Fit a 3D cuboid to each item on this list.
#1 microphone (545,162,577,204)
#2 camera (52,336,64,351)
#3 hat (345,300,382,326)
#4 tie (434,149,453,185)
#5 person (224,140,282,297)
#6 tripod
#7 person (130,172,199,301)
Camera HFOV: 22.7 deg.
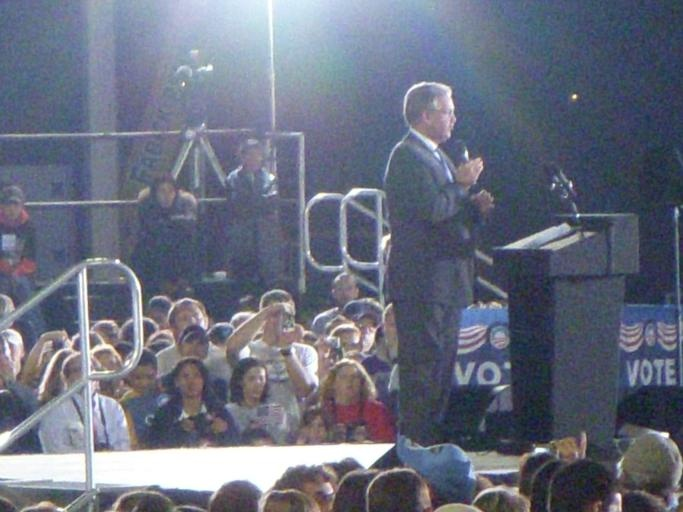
[{"bbox_3d":[1.492,-0.495,11.528,0.155,0.319,0.112,-32,-3,-5],"label":"microphone"},{"bbox_3d":[-1.973,0.613,11.858,0.053,0.095,0.098,11,-37,10],"label":"camera"},{"bbox_3d":[0.152,0.403,12.449,0.160,0.090,0.223,-5,-12,34],"label":"hat"},{"bbox_3d":[0.675,-0.597,11.108,0.065,0.206,0.146,-21,8,13],"label":"tie"},{"bbox_3d":[-0.668,-0.205,12.766,0.402,0.932,0.185,1,-4,-6],"label":"person"},{"bbox_3d":[-1.079,-0.714,13.020,0.442,0.641,0.455,0,-2,-29],"label":"tripod"},{"bbox_3d":[-1.312,-0.145,12.635,0.448,0.892,0.298,0,-8,-14],"label":"person"}]
